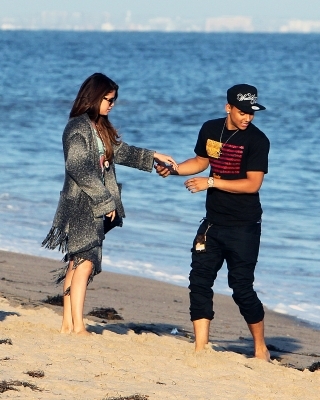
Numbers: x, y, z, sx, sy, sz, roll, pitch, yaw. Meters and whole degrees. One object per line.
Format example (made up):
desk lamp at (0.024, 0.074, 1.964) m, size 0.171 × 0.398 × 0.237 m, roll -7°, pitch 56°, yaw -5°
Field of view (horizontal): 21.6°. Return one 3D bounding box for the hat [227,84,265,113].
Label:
hat at (0.855, -1.062, 8.655) m, size 0.268 × 0.209 × 0.413 m, roll -22°, pitch 35°, yaw -36°

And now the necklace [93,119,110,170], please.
necklace at (-0.584, -0.528, 8.673) m, size 0.161 × 0.372 × 0.307 m, roll -7°, pitch 0°, yaw 7°

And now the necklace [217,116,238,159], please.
necklace at (0.708, -0.674, 8.754) m, size 0.147 × 0.415 × 0.010 m, roll 21°, pitch -18°, yaw 25°

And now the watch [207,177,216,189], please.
watch at (0.525, -0.177, 8.512) m, size 0.090 × 0.088 × 0.096 m, roll -1°, pitch -10°, yaw 4°

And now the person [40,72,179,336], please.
person at (-0.699, 0.040, 8.767) m, size 0.826 × 2.111 × 0.709 m, roll 10°, pitch 3°, yaw -2°
